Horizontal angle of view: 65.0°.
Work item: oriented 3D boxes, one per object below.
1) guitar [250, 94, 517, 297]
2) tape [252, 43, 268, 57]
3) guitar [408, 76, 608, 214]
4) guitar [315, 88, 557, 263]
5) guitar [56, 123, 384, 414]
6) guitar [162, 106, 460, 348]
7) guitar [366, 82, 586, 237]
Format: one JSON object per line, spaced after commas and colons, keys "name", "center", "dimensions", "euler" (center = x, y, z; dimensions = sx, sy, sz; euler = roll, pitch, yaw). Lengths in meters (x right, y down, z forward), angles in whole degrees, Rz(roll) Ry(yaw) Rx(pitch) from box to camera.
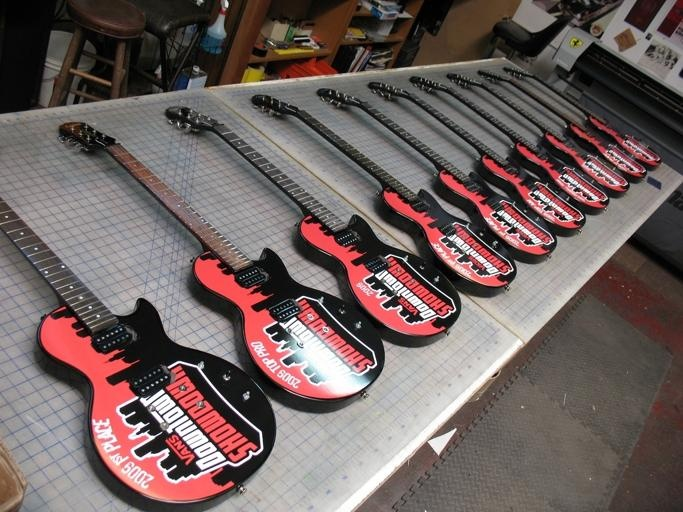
{"name": "guitar", "center": [0.063, -0.247, 2.185], "dimensions": [1.320, 0.124, 0.417], "euler": [31, 30, 17]}
{"name": "tape", "center": [-0.667, -1.722, 4.457], "dimensions": [0.115, 0.089, 0.143], "euler": [19, 45, -13]}
{"name": "guitar", "center": [0.666, -0.546, 2.876], "dimensions": [1.393, 0.144, 0.463], "euler": [31, 29, 10]}
{"name": "guitar", "center": [0.169, -0.357, 2.450], "dimensions": [1.530, 0.144, 0.476], "euler": [31, 26, 12]}
{"name": "guitar", "center": [-0.409, 0.017, 1.637], "dimensions": [1.259, 0.115, 0.366], "euler": [34, 36, 16]}
{"name": "guitar", "center": [-0.218, -0.140, 1.934], "dimensions": [1.355, 0.129, 0.390], "euler": [33, 33, 18]}
{"name": "guitar", "center": [0.386, -0.443, 2.665], "dimensions": [1.445, 0.139, 0.478], "euler": [31, 29, 8]}
